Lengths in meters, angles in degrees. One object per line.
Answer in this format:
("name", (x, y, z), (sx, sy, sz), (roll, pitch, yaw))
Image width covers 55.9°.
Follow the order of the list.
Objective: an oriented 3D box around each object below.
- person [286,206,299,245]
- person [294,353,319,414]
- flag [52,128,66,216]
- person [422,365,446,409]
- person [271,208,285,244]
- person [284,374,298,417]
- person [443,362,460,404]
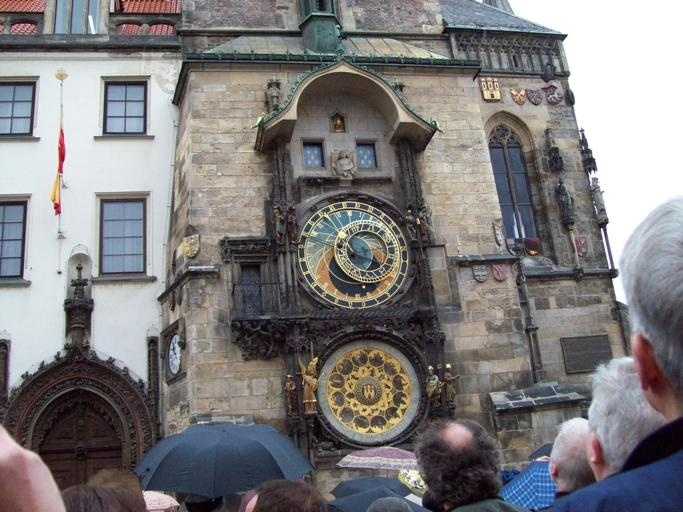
("person", (-1.107, -0.634, 14.295), (0.231, 0.817, 0.332), (-8, -20, 10))
("person", (-0.642, 2.648, 13.210), (0.413, 1.198, 0.612), (-3, -20, -4))
("flag", (-7.069, -2.224, 16.195), (0.261, 2.480, 0.856), (5, -22, -24))
("person", (1.985, 2.782, 13.789), (0.361, 0.842, 0.318), (13, -26, -40))
("person", (-1.362, -0.687, 14.214), (0.229, 0.840, 0.195), (-3, -20, -4))
("person", (-1.062, 2.845, 13.130), (0.288, 0.857, 0.245), (-12, -21, 20))
("person", (2.352, 2.745, 13.928), (0.283, 0.905, 0.579), (-11, -21, 17))
